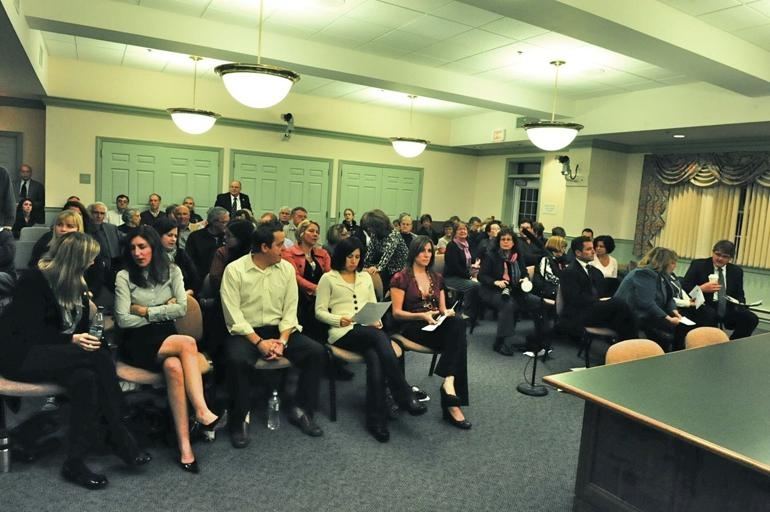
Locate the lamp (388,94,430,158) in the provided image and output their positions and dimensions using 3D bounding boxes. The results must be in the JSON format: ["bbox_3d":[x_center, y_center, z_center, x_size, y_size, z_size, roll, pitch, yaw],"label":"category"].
[{"bbox_3d":[0.428,-2.255,10.423,0.716,1.006,0.700,2,7,-24],"label":"lamp"}]

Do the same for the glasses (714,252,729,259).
[{"bbox_3d":[3.922,-0.016,7.123,0.080,0.086,0.102,14,2,40],"label":"glasses"}]

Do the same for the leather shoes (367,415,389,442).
[{"bbox_3d":[-0.050,1.474,5.216,0.104,0.126,0.299,-2,5,-27],"label":"leather shoes"}]

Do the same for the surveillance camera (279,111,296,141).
[{"bbox_3d":[-1.706,-2.313,10.840,0.240,0.480,0.448,1,7,-8],"label":"surveillance camera"}]

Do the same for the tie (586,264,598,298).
[{"bbox_3d":[2.420,0.277,7.105,0.122,0.331,0.257,-9,-17,32],"label":"tie"}]

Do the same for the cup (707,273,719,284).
[{"bbox_3d":[3.856,0.255,7.183,0.108,0.115,0.104,-3,6,0],"label":"cup"}]

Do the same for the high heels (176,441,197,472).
[{"bbox_3d":[-1.565,1.577,4.800,0.104,0.133,0.325,1,-1,-31],"label":"high heels"}]

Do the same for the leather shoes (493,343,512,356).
[{"bbox_3d":[1.380,1.074,7.092,0.115,0.075,0.196,-3,5,-30],"label":"leather shoes"}]

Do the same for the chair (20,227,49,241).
[{"bbox_3d":[-3.875,-0.249,6.789,0.209,0.243,0.193,8,6,38],"label":"chair"}]

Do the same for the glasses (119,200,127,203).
[{"bbox_3d":[-4.075,-0.867,9.555,0.068,0.068,0.078,4,-10,-32],"label":"glasses"}]

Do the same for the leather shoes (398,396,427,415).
[{"bbox_3d":[0.216,1.284,5.246,0.134,0.113,0.280,-1,-5,-41],"label":"leather shoes"}]

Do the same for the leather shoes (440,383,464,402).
[{"bbox_3d":[0.608,1.242,5.506,0.098,0.092,0.262,1,-5,-11],"label":"leather shoes"}]

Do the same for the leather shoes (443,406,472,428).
[{"bbox_3d":[0.635,1.452,5.517,0.108,0.129,0.310,-1,1,-39],"label":"leather shoes"}]

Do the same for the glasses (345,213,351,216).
[{"bbox_3d":[-0.593,-0.693,10.010,0.058,0.029,0.077,-3,-1,10],"label":"glasses"}]
